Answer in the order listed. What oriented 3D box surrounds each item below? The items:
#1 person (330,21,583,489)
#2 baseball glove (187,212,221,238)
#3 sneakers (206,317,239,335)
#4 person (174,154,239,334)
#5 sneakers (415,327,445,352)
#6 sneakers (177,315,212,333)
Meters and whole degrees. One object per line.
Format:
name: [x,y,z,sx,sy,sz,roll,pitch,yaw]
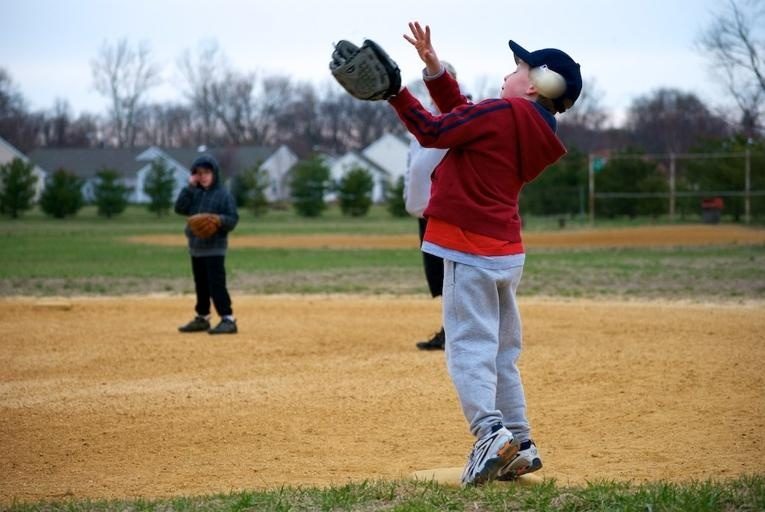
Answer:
person: [0.751,-0.031,11.344,1.373,3.719,1.125,1,3,34]
baseball glove: [-1.784,-0.319,13.890,0.292,0.132,0.220,-4,-36,45]
sneakers: [-1.616,0.704,14.066,0.349,0.241,0.124,3,-2,-5]
person: [-1.787,-0.121,14.116,0.622,1.789,0.455,-1,3,-8]
sneakers: [0.509,0.852,14.046,0.388,0.273,0.140,0,2,7]
sneakers: [-1.919,0.692,14.230,0.402,0.191,0.131,6,2,-15]
